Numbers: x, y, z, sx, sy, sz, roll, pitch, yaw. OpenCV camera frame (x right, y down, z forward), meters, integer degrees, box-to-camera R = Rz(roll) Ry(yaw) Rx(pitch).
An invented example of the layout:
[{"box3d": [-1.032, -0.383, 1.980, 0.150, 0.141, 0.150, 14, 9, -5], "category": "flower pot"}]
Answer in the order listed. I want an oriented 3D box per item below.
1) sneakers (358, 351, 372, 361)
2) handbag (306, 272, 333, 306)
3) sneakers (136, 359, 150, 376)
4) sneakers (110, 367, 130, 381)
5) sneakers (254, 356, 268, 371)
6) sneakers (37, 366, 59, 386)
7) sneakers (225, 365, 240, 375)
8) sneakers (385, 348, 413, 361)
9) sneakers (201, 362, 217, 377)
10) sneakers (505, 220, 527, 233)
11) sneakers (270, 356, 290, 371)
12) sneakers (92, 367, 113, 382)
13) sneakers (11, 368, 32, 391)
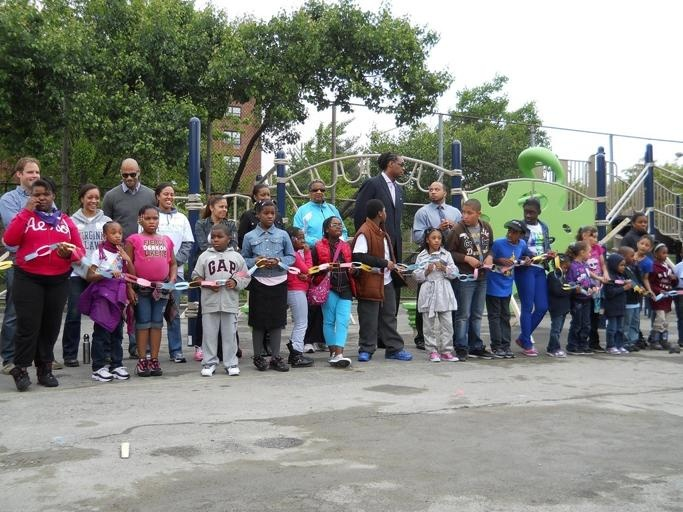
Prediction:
[{"box3d": [0.270, 1.213, 8.339, 0.076, 0.078, 0.200, -2, -17, 13], "category": "sneakers"}, {"box3d": [-0.260, 0.366, 8.024, 0.183, 0.352, 0.309, 22, -2, 32], "category": "handbag"}, {"box3d": [-2.075, 1.165, 7.312, 0.137, 0.179, 0.127, 0, 3, -14], "category": "sneakers"}, {"box3d": [-2.300, 1.218, 7.188, 0.243, 0.097, 0.091, 4, 2, 20], "category": "sneakers"}, {"box3d": [-0.892, 1.194, 7.742, 0.095, 0.088, 0.210, 0, 4, -13], "category": "sneakers"}, {"box3d": [-2.826, 1.165, 6.748, 0.192, 0.181, 0.251, 0, 3, -22], "category": "sneakers"}, {"box3d": [-1.139, 1.227, 7.427, 0.070, 0.071, 0.169, 4, -14, -22], "category": "sneakers"}, {"box3d": [0.682, 1.218, 8.517, 0.343, 0.130, 0.120, -2, -3, 22], "category": "sneakers"}, {"box3d": [-1.403, 1.211, 7.413, 0.118, 0.121, 0.284, 0, -9, 3], "category": "sneakers"}, {"box3d": [2.212, -0.373, 8.823, 0.230, 0.073, 0.163, 20, -5, -42], "category": "sneakers"}, {"box3d": [-0.680, 1.201, 7.740, 0.106, 0.118, 0.280, 1, -3, -41], "category": "sneakers"}, {"box3d": [-2.408, 1.197, 7.063, 0.189, 0.115, 0.225, 0, 3, -25], "category": "sneakers"}, {"box3d": [-2.973, 1.157, 6.510, 0.323, 0.125, 0.111, -1, -3, 43], "category": "sneakers"}]
